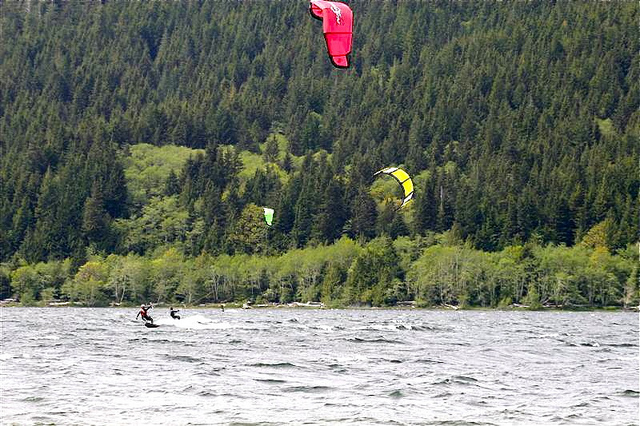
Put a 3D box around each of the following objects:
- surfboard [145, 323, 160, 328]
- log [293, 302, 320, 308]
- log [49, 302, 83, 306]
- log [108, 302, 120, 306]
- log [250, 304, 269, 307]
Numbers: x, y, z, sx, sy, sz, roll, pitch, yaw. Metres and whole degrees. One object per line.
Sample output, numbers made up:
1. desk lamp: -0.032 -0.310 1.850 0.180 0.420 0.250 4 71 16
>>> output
1. surfboard: -28.552 19.360 233.111 1.597 0.652 2.421 2 0 42
2. log: -2.513 18.734 275.732 5.364 0.787 1.590 2 0 33
3. log: -53.321 18.584 277.777 4.882 0.725 0.471 2 -10 -2
4. log: -41.989 18.605 277.705 2.027 0.613 0.845 2 0 -10
5. log: -12.209 18.900 277.928 3.731 0.425 1.988 2 0 11
